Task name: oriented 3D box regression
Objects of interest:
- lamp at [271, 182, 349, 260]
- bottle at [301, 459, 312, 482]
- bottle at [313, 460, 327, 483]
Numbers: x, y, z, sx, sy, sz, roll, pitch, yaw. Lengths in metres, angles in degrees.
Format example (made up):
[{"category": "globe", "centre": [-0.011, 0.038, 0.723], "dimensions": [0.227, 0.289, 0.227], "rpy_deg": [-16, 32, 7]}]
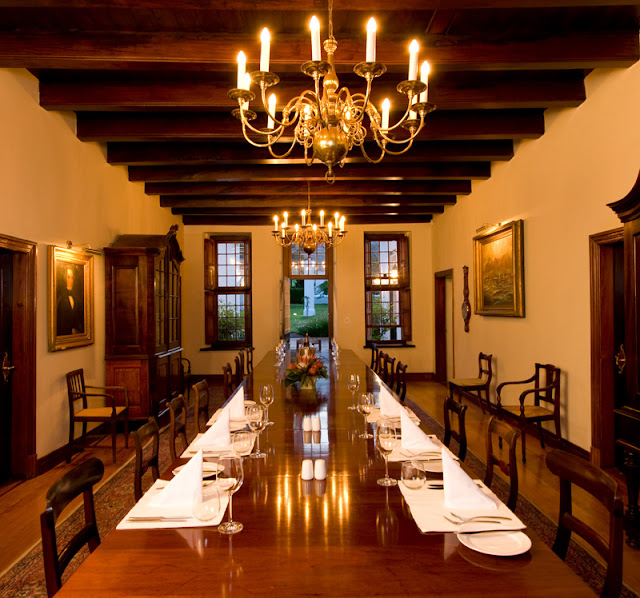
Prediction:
[{"category": "lamp", "centre": [-0.167, -1.134, 7.751], "dimensions": [0.942, 1.184, 1.061], "rpy_deg": [-2, -3, 20]}, {"category": "bottle", "centre": [-0.059, 0.805, 2.598], "dimensions": [0.062, 0.117, 0.068], "rpy_deg": [1, -9, 0]}, {"category": "bottle", "centre": [-0.001, 0.814, 2.601], "dimensions": [0.066, 0.119, 0.072], "rpy_deg": [0, -9, 0]}]
